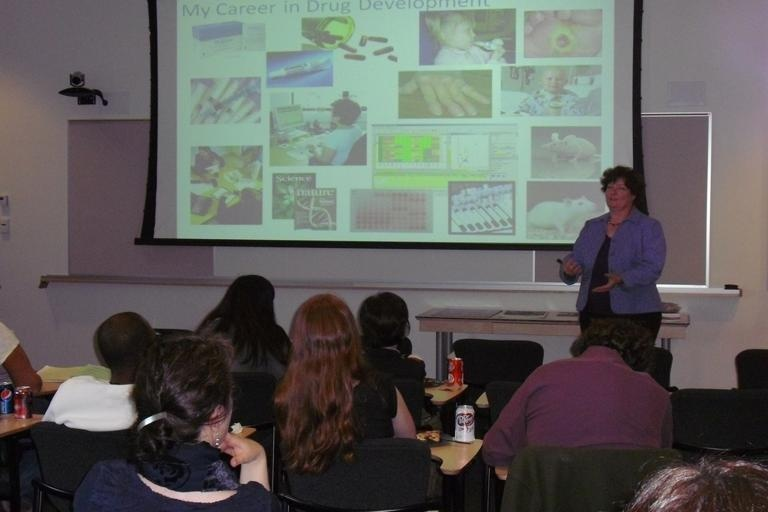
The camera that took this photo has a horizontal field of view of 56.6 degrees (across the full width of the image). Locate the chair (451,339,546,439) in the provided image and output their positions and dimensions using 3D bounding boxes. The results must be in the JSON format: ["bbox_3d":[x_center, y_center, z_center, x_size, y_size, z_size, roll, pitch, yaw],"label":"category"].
[{"bbox_3d":[0.739,0.913,5.066,0.660,0.811,0.665,0,-5,16],"label":"chair"}]

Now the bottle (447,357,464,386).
[{"bbox_3d":[0.486,0.766,4.818,0.091,0.169,0.233,-1,7,5],"label":"bottle"}]

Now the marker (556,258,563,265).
[{"bbox_3d":[1.431,0.044,5.802,0.093,0.024,0.024,41,9,-44],"label":"marker"}]

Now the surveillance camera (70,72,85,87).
[{"bbox_3d":[-2.881,-1.657,6.788,0.140,0.198,0.069,3,0,-8],"label":"surveillance camera"}]

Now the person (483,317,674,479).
[{"bbox_3d":[1.111,0.893,3.596,0.994,1.051,0.623,2,-17,21],"label":"person"}]
